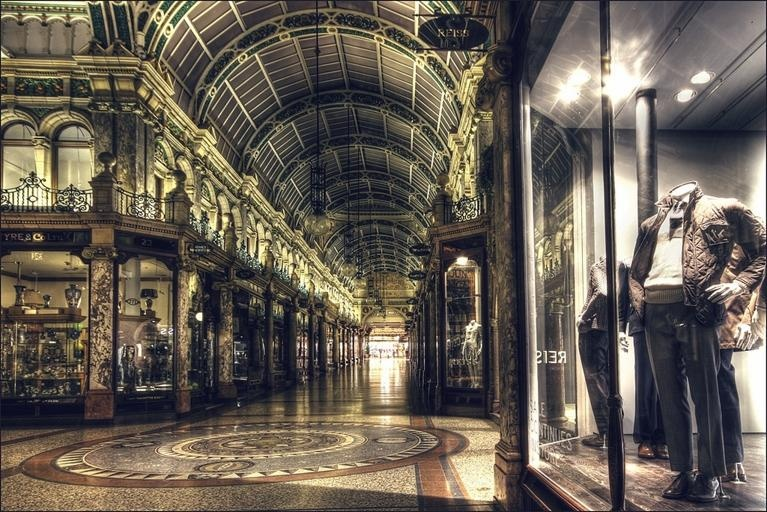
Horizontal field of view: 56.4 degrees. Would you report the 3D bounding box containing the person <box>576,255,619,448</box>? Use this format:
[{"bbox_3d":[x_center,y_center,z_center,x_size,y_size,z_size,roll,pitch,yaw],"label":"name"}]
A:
[{"bbox_3d":[2.583,1.189,8.802,0.371,2.283,0.686,-2,-11,2],"label":"person"}]

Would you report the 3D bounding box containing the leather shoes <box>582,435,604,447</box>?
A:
[{"bbox_3d":[2.550,2.279,8.730,0.190,0.075,0.191,0,-5,-5],"label":"leather shoes"}]

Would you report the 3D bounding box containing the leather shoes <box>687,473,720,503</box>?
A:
[{"bbox_3d":[3.100,2.281,6.961,0.169,0.179,0.420,-10,-19,31],"label":"leather shoes"}]
